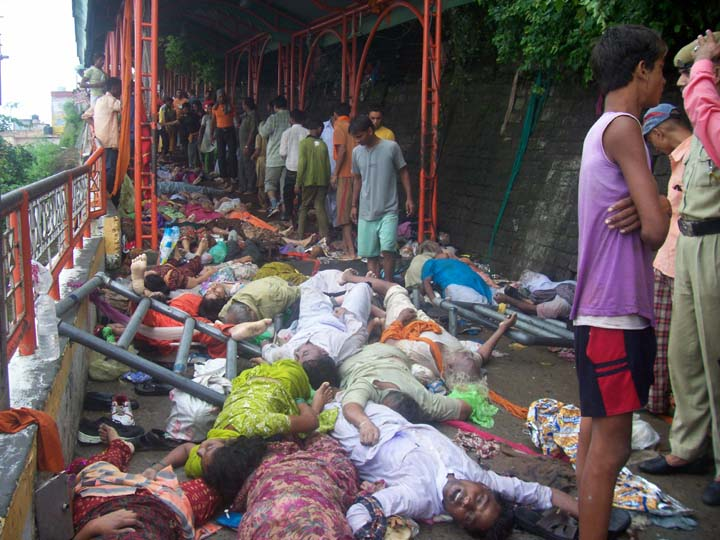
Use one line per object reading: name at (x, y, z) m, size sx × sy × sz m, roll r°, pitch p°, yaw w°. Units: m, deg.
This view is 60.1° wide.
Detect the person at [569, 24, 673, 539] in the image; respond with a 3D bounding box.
person at (1.196, 0.077, 2.895) m, size 0.385 × 2.459 × 0.378 m, roll 3°, pitch 6°, yaw 20°

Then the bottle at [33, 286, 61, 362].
bottle at (-2.012, 0.364, 3.985) m, size 0.087 × 0.052 × 0.535 m, roll 1°, pitch 37°, yaw -23°
